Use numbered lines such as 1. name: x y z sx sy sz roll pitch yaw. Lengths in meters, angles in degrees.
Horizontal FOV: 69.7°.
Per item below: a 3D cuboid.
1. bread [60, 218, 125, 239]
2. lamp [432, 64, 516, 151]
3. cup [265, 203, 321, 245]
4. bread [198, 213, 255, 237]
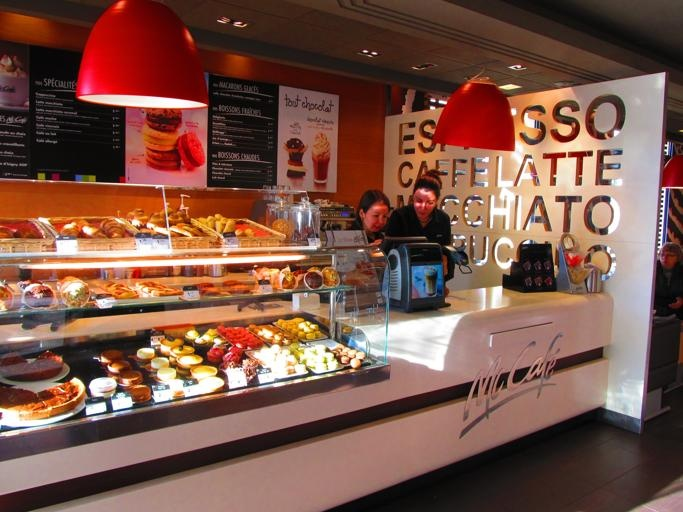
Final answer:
1. bread: -1.149 -0.133 2.328 0.286 0.078 0.272 -3 9 -24
2. lamp: 0.835 -0.888 3.063 0.437 0.444 0.291 -1 10 -16
3. cup: -0.244 -0.171 2.644 0.265 0.162 0.242 0 5 0
4. bread: -0.587 -0.155 2.534 0.274 0.096 0.196 -2 9 -20
